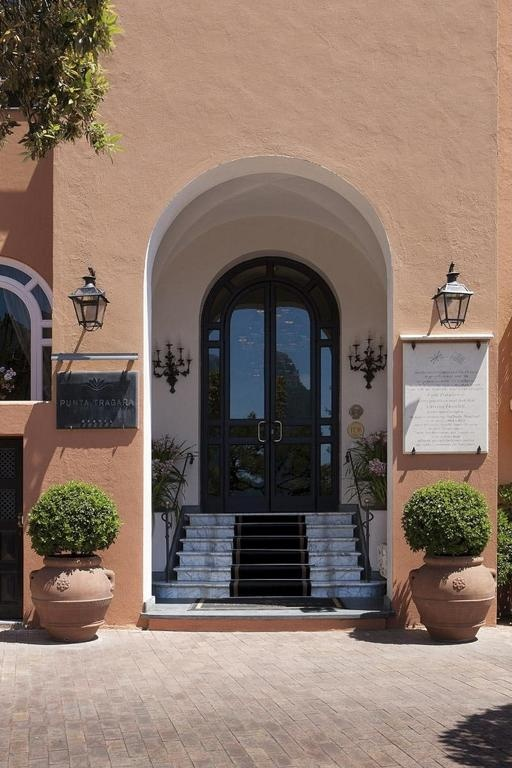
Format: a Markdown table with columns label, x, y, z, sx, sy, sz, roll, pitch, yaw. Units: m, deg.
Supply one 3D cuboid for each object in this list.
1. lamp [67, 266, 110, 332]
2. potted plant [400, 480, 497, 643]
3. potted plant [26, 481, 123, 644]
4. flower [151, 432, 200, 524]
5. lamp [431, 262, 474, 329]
| label | x | y | z | sx | sy | sz | roll | pitch | yaw |
| --- | --- | --- | --- | --- | --- | --- | --- | --- | --- |
| lamp | -1.408 | -0.740 | 7.883 | 0.277 | 0.554 | 0.336 | 0 | -1 | 0 |
| potted plant | 1.524 | 1.404 | 7.353 | 0.719 | 1.232 | 0.362 | -1 | -1 | 12 |
| potted plant | -1.496 | 1.411 | 7.485 | 0.829 | 1.249 | 0.708 | -1 | -10 | -13 |
| flower | -0.897 | 0.942 | 9.819 | 0.473 | 0.802 | 0.914 | 0 | -1 | 1 |
| lamp | 1.695 | -0.766 | 7.943 | 0.351 | 0.562 | 0.374 | -1 | -1 | 8 |
